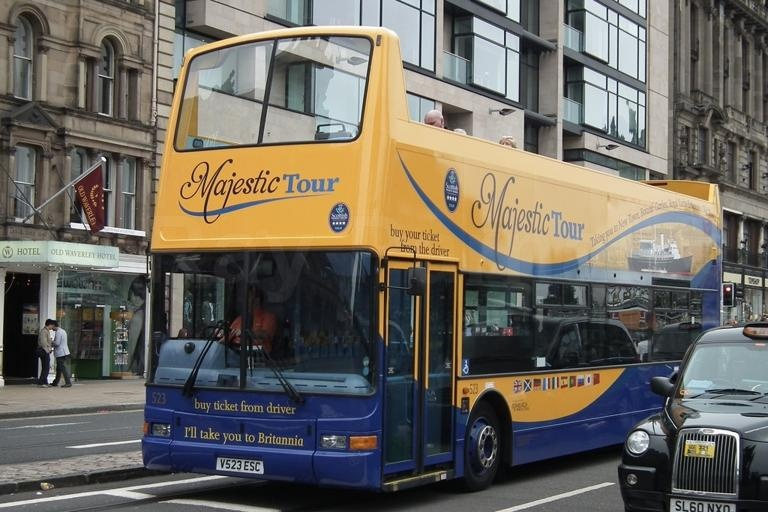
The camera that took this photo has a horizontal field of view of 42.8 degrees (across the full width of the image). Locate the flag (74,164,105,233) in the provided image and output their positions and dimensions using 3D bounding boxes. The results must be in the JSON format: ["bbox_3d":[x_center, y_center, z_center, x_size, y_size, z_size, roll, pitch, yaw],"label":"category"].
[{"bbox_3d":[-9.735,-1.907,32.371,0.841,2.118,0.840,1,-6,-7],"label":"flag"}]

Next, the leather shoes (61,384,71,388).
[{"bbox_3d":[-10.191,4.206,31.478,0.372,0.167,0.134,2,0,27],"label":"leather shoes"}]

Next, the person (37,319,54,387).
[{"bbox_3d":[-10.708,3.053,30.969,0.428,2.137,0.791,3,-6,-19],"label":"person"}]

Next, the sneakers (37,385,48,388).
[{"bbox_3d":[-10.803,4.158,31.031,0.358,0.170,0.126,-3,-2,19],"label":"sneakers"}]

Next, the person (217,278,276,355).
[{"bbox_3d":[-2.048,0.963,14.551,0.720,1.096,0.652,7,-18,-6],"label":"person"}]
